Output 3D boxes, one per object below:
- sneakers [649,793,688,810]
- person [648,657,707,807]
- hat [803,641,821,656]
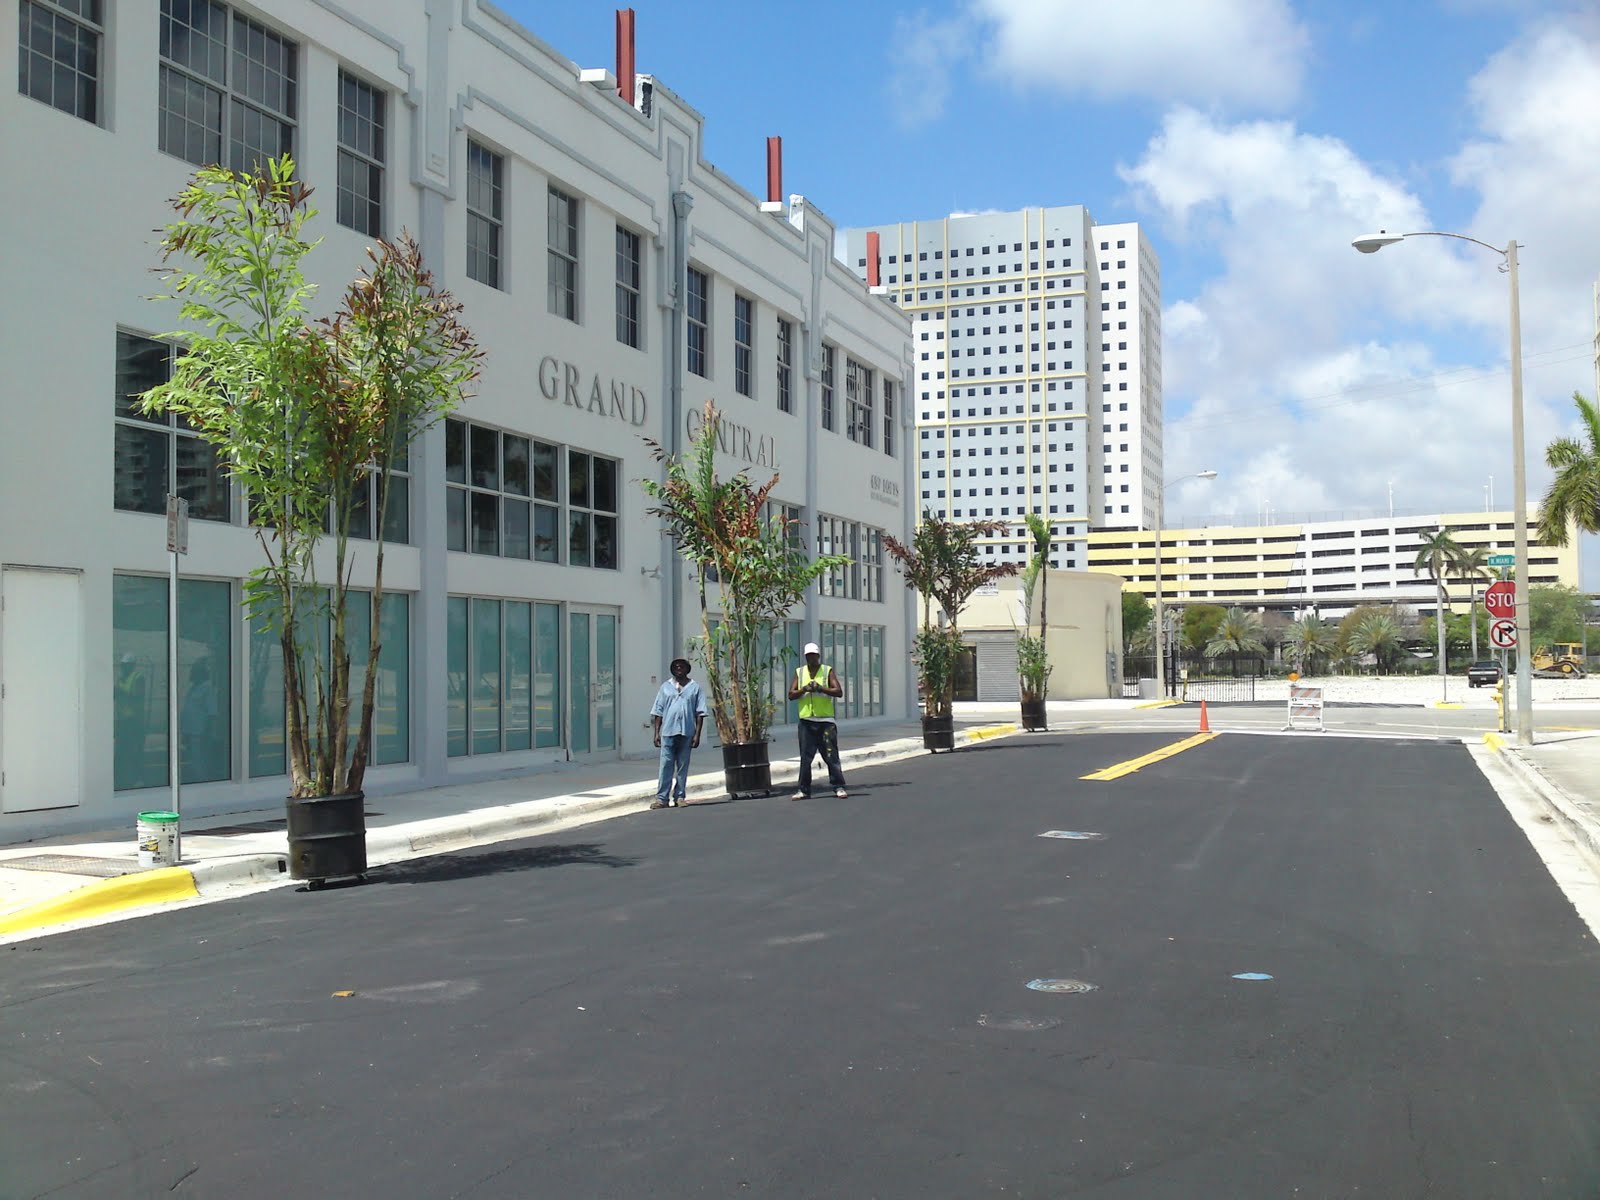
[{"bbox_3d":[-1.912,2.931,21.993,0.506,0.265,0.190,5,-16,-12],"label":"sneakers"},{"bbox_3d":[-1.810,1.929,22.332,0.789,2.103,1.383,-4,-4,-6],"label":"person"},{"bbox_3d":[0.153,0.720,23.258,0.218,0.152,0.379,0,-4,5],"label":"hat"}]
